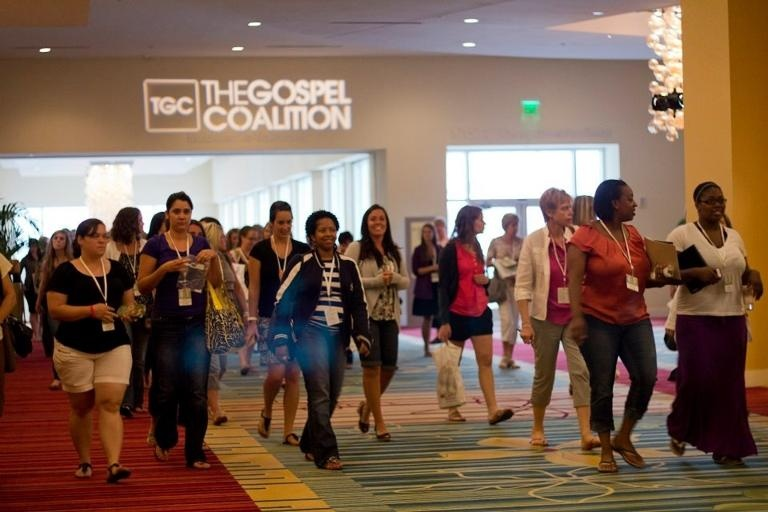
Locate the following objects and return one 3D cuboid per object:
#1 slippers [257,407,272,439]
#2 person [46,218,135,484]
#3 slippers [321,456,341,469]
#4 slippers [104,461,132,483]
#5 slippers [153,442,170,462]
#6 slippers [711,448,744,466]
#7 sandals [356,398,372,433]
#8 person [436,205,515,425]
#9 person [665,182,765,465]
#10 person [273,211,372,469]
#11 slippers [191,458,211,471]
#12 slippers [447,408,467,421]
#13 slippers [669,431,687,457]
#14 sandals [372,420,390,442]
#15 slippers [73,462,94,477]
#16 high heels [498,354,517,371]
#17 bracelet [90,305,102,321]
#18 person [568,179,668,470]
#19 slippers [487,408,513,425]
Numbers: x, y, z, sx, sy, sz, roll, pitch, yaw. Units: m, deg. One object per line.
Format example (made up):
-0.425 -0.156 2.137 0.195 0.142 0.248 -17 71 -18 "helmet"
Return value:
-1.074 1.533 5.964 0.107 0.300 0.116 -3 4 -36 "slippers"
-2.150 0.696 4.918 0.641 1.947 0.409 -1 -2 -7 "person"
-0.398 1.583 5.040 0.144 0.108 0.059 -1 -1 -6 "slippers"
-1.915 1.576 4.768 0.099 0.103 0.253 6 -21 -37 "slippers"
-1.866 1.631 5.510 0.083 0.090 0.207 9 -2 -26 "slippers"
2.602 1.528 4.996 0.212 0.091 0.102 -2 0 10 "slippers"
-0.182 1.495 6.174 0.109 0.309 0.078 0 -18 -21 "sandals"
0.869 0.571 6.510 0.715 2.152 0.488 -1 -2 -4 "person"
2.569 0.512 5.146 0.661 2.140 0.418 -1 -2 0 "person"
-0.491 0.640 5.127 0.746 1.997 0.330 -1 -2 -13 "person"
-1.428 1.627 5.139 0.132 0.057 0.061 -2 13 2 "slippers"
0.725 1.610 6.658 0.203 0.201 0.100 -3 -8 17 "slippers"
2.317 1.509 5.197 0.097 0.161 0.158 -5 -6 -8 "slippers"
-0.018 1.604 6.003 0.075 0.107 0.248 0 -6 -10 "sandals"
-2.295 1.636 5.055 0.078 0.053 0.146 2 -2 -8 "slippers"
1.859 1.639 9.950 0.254 0.231 0.128 -3 1 -25 "high heels"
-2.089 0.405 4.748 0.067 0.093 0.027 -2 -2 27 "bracelet"
1.681 0.515 4.843 0.745 2.147 0.372 -1 -2 -12 "person"
1.149 1.561 6.437 0.247 0.163 0.208 -1 -1 -19 "slippers"
